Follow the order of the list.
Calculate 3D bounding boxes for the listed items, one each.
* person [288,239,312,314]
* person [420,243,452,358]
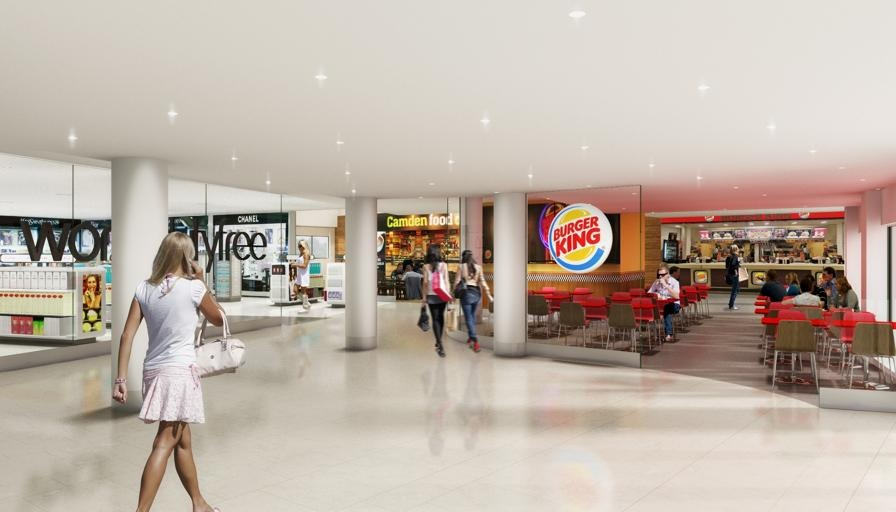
[{"bbox_3d":[-4.660,0.588,17.510,0.515,2.105,1.541,0,0,-17],"label":"person"},{"bbox_3d":[-0.224,0.923,11.371,0.561,2.293,0.595,-1,0,-16],"label":"person"}]
